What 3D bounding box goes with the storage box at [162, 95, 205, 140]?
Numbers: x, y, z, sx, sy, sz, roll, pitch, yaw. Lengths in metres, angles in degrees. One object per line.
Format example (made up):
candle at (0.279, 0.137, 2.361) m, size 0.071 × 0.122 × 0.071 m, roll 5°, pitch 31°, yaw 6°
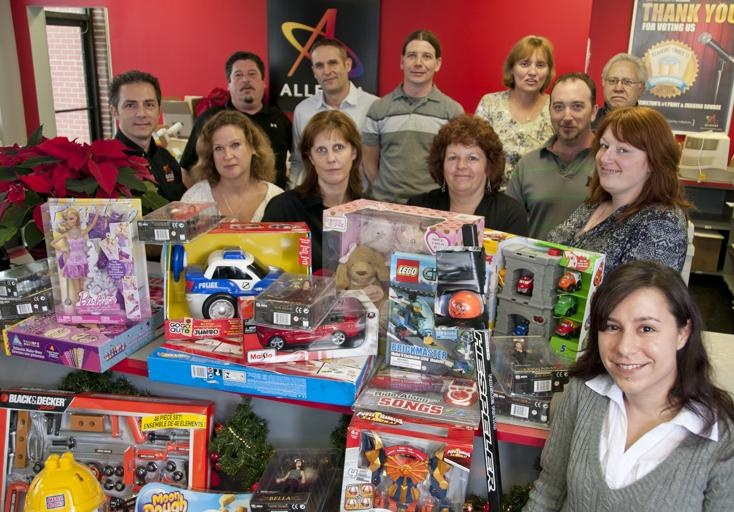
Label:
storage box at (-1.977, -1.544, 6.139) m, size 0.528 × 0.537 × 0.508 m, roll 6°, pitch 15°, yaw 12°
